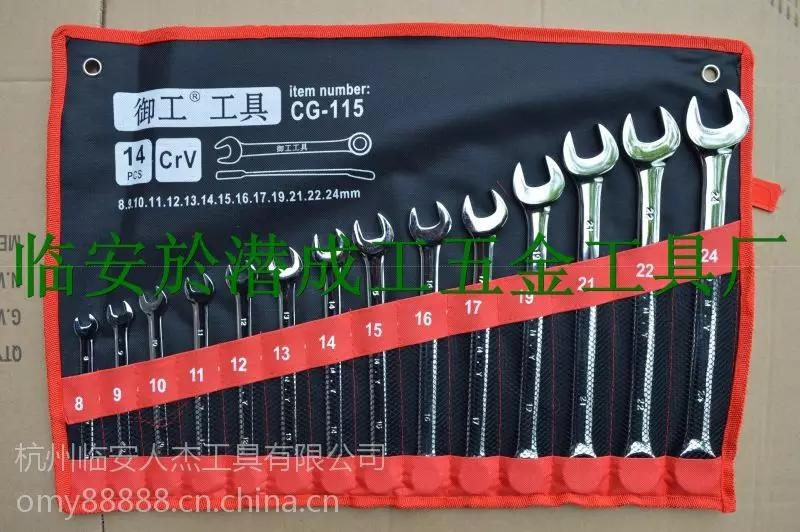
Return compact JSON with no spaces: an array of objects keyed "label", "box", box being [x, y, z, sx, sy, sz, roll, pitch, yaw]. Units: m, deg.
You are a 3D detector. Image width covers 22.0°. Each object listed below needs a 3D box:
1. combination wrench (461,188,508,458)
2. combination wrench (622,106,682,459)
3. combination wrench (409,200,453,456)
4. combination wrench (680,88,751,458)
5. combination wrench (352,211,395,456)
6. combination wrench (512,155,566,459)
[{"label":"combination wrench","box":[0.208,0.156,5.312,0.108,0.669,0.034,1,0,2]},{"label":"combination wrench","box":[0.634,0.051,5.403,0.141,0.872,0.061,2,0,4]},{"label":"combination wrench","box":[0.068,0.186,5.379,0.140,0.689,0.051,1,-14,-10]},{"label":"combination wrench","box":[0.806,0.012,5.306,0.155,0.957,0.047,3,2,2]},{"label":"combination wrench","box":[-0.075,0.122,5.453,0.109,0.527,0.043,-9,34,-12]},{"label":"combination wrench","box":[0.336,0.110,5.304,0.119,0.771,0.041,2,-1,2]}]
